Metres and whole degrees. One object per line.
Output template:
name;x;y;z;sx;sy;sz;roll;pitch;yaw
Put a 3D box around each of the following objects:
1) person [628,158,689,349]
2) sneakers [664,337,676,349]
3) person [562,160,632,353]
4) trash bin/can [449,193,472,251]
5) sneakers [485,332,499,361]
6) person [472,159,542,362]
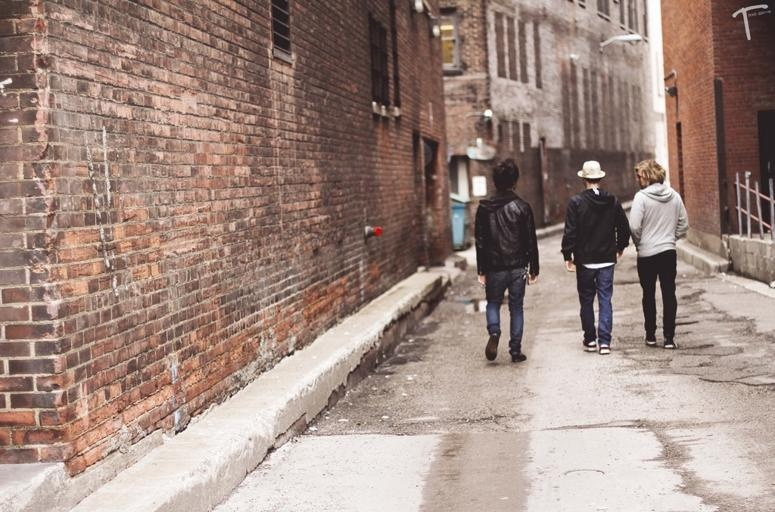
person;3.468;-0.051;8.756;0.657;2.356;0.635;-3;5;23
sneakers;3.560;1.082;8.627;0.171;0.124;0.109;-5;5;-5
person;2.629;0.010;8.702;0.852;2.392;0.504;-4;4;5
trash bin/can;2.293;-1.052;21.643;0.699;1.739;0.501;-6;5;-15
sneakers;1.291;1.115;8.488;0.144;0.357;0.135;4;-6;17
person;1.499;0.046;8.639;0.760;2.512;0.630;-5;4;-4
